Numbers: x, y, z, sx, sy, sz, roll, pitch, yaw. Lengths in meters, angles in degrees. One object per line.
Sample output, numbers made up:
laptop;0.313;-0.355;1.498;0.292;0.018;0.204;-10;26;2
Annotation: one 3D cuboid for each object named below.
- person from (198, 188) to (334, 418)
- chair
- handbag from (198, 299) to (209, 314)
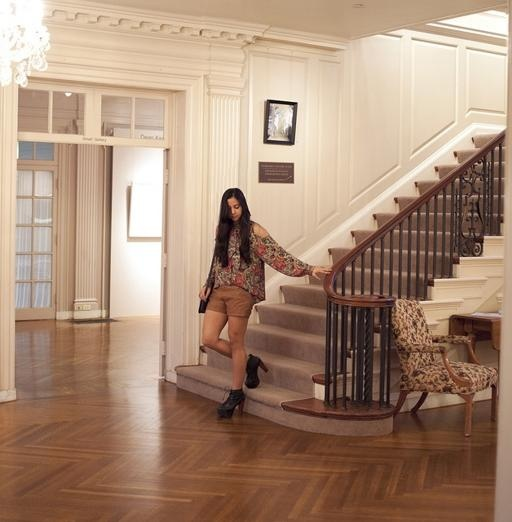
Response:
person;-0.069;0.357;3.920;0.753;1.654;0.395;1;0;34
chair;1.530;0.820;4.006;0.863;0.838;0.878;2;1;-27
handbag;-0.430;0.377;4.078;0.031;0.103;0.116;17;-9;-39
